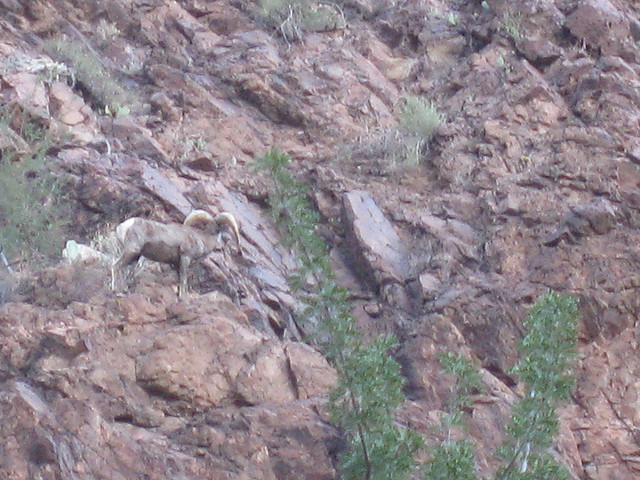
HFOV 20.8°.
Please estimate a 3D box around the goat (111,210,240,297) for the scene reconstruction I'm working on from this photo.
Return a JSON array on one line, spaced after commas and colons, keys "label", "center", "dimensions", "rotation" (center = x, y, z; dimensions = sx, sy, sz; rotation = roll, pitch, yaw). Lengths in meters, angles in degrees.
[{"label": "goat", "center": [-2.349, 0.058, 28.031], "dimensions": [1.535, 1.592, 1.555], "rotation": [5, 6, -45]}]
